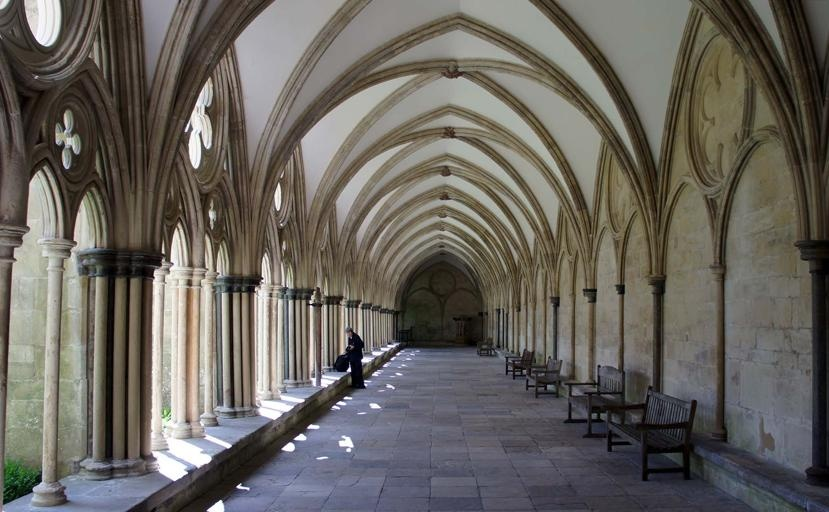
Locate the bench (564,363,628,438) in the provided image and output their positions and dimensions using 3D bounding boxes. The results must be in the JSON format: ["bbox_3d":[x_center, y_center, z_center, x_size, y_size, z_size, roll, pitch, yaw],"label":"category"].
[{"bbox_3d":[3.519,2.822,13.108,0.772,1.281,2.039,2,-6,2],"label":"bench"}]

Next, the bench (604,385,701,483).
[{"bbox_3d":[3.683,2.808,10.643,0.861,1.140,2.252,0,-6,4],"label":"bench"}]

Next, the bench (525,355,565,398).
[{"bbox_3d":[3.365,3.136,17.283,0.662,0.894,1.891,0,-3,1],"label":"bench"}]

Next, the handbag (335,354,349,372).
[{"bbox_3d":[-2.068,3.118,19.159,0.355,0.502,0.261,23,19,-50],"label":"handbag"}]
